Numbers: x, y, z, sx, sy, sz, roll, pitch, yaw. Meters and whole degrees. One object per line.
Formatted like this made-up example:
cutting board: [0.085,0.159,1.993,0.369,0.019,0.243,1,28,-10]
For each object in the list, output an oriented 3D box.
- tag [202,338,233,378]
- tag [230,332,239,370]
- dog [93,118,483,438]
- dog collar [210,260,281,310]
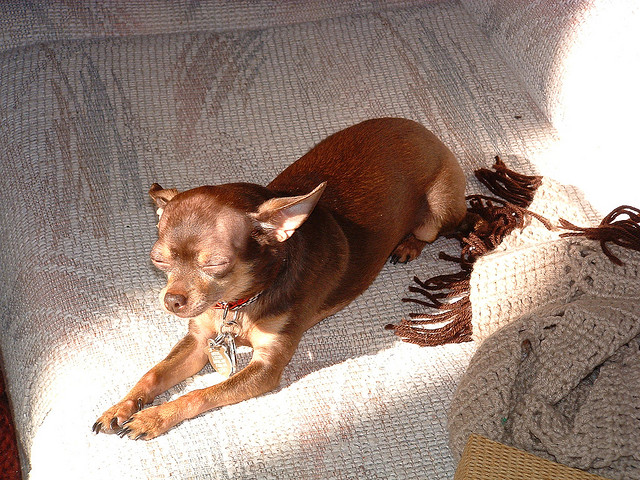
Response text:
tag: [-0.264,0.323,1.592,0.105,0.080,0.026,57,39,-8]
tag: [-0.237,0.308,1.576,0.016,0.100,0.017,-16,-7,23]
dog: [-0.121,0.046,1.671,1.087,0.483,0.681,-41,45,-23]
dog collar: [-0.201,0.115,1.541,0.164,0.120,0.039,-13,68,-54]
